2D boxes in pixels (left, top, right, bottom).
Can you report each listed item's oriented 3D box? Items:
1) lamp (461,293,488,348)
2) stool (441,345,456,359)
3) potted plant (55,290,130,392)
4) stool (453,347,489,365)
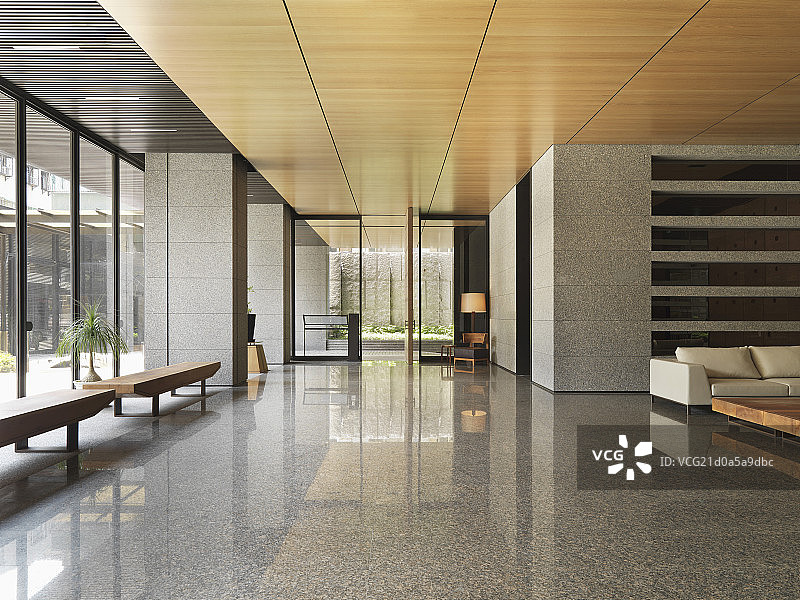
[{"bbox_3d":[1.745,0.465,14.869,0.597,1.248,0.534,0,7,5],"label":"lamp"},{"bbox_3d":[1.142,1.236,14.946,0.395,0.299,0.343,-1,-4,-1],"label":"stool"},{"bbox_3d":[-4.375,0.626,8.763,1.163,1.169,1.026,-1,2,-20],"label":"potted plant"},{"bbox_3d":[1.545,1.203,13.942,0.610,0.303,0.573,1,-4,-29],"label":"stool"}]
